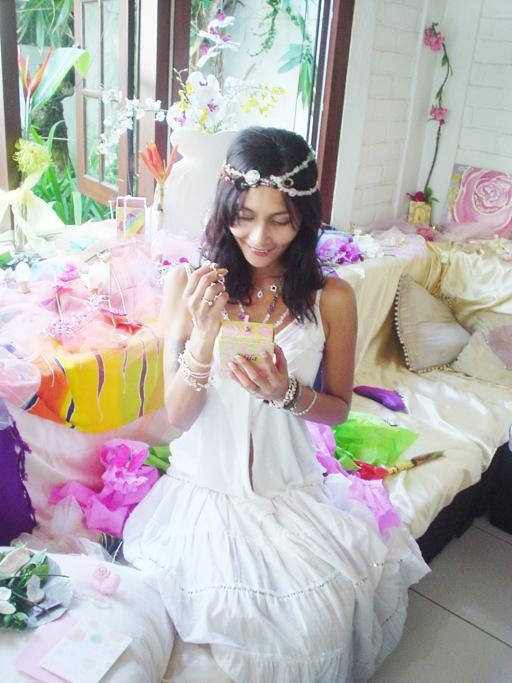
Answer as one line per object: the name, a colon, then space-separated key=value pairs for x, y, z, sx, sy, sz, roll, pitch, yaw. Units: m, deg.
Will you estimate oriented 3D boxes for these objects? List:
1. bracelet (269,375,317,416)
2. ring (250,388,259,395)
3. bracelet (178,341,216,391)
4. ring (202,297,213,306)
bracelet: x=0.081 y=0.111 z=1.003 sx=0.071 sy=0.036 sz=0.092 roll=23 pitch=10 yaw=3
ring: x=-0.003 y=0.087 z=0.866 sx=0.014 sy=0.005 sz=0.014 roll=2 pitch=0 yaw=0
bracelet: x=-0.109 y=0.046 z=0.987 sx=0.073 sy=0.064 sz=0.089 roll=21 pitch=4 yaw=-5
ring: x=-0.083 y=-0.067 z=0.831 sx=0.013 sy=0.014 sz=0.009 roll=2 pitch=20 yaw=6
